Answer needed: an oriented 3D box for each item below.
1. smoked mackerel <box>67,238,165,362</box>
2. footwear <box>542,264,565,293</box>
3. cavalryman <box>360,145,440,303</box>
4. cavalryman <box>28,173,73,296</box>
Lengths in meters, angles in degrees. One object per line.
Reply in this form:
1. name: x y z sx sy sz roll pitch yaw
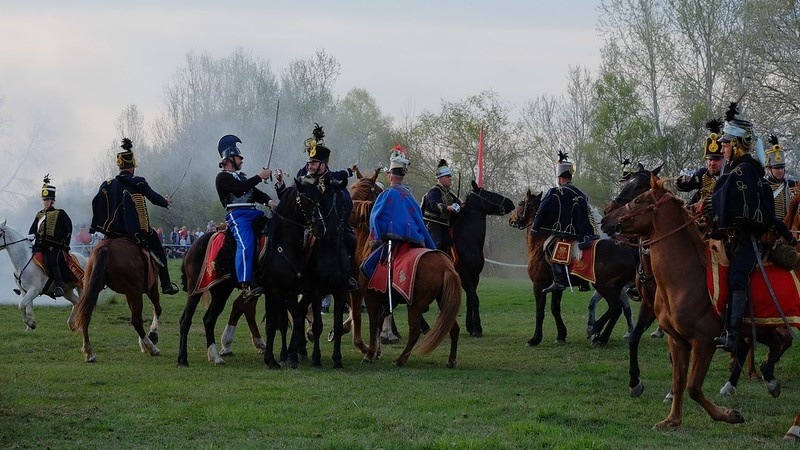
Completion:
1. smoked mackerel: -7.668 1.978 31.372 1.330 3.145 2.838 12 17 42
2. footwear: 4.417 1.530 32.489 0.658 0.878 0.459 1 13 6
3. cavalryman: -0.058 -0.218 30.939 1.649 3.708 2.288 0 0 26
4. cavalryman: -10.725 0.615 34.768 1.717 4.341 1.687 0 1 -30
